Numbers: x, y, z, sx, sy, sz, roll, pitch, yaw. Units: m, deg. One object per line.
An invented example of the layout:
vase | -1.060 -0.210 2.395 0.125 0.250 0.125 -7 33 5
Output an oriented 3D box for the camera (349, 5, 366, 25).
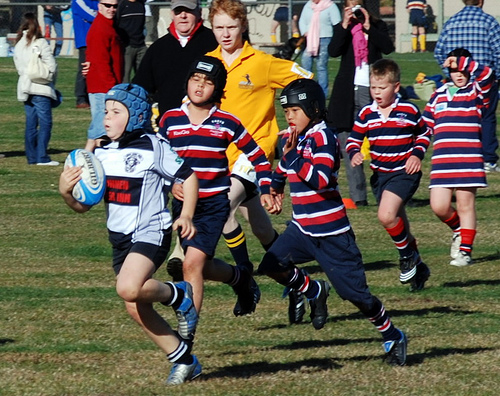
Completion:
camera | 1.335 -2.295 9.749 0.195 0.094 0.237 -31 9 19

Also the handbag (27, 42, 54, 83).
handbag | -3.137 -1.997 11.559 0.326 0.554 0.179 2 10 5

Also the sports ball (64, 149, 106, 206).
sports ball | -1.087 -0.130 5.120 0.219 0.361 0.294 -3 11 -25
